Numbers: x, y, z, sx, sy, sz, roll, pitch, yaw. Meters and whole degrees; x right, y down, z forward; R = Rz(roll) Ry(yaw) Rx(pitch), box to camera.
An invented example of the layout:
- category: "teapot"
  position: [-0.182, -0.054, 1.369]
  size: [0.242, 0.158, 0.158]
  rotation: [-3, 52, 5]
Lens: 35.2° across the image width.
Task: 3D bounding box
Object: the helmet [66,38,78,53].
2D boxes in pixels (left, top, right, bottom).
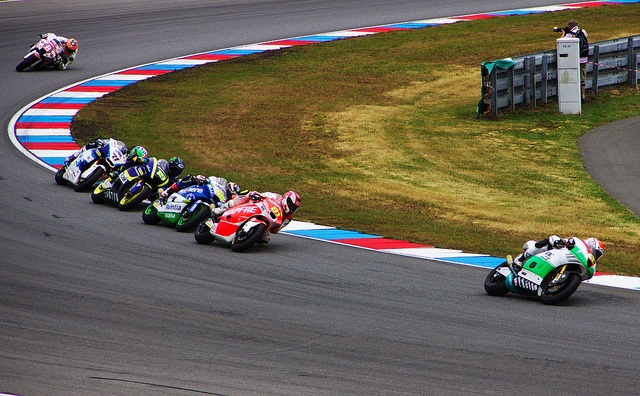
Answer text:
- category: "helmet"
  position: [-7.403, -4.524, 30.125]
  size: [0.403, 0.347, 0.430]
  rotation: [-55, 11, -10]

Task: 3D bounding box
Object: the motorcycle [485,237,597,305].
- category: "motorcycle"
  position: [4.389, 1.344, 19.538]
  size: [2.758, 0.807, 1.467]
  rotation: [-1, 26, 37]

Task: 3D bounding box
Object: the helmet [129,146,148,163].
- category: "helmet"
  position: [-4.107, -0.996, 22.668]
  size: [0.470, 0.345, 0.313]
  rotation: [-15, 25, -19]

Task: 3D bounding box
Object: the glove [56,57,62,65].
- category: "glove"
  position: [-7.758, -4.060, 30.121]
  size: [0.203, 0.149, 0.043]
  rotation: [-1, 10, -34]

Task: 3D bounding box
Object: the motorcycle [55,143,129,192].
- category: "motorcycle"
  position: [-5.211, -0.740, 22.964]
  size: [1.225, 0.646, 2.180]
  rotation: [-28, 12, -36]

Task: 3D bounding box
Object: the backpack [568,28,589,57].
- category: "backpack"
  position: [7.262, -4.360, 28.550]
  size: [0.494, 0.765, 0.487]
  rotation: [-14, 35, -1]

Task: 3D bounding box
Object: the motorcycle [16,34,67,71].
- category: "motorcycle"
  position: [-8.194, -4.317, 29.906]
  size: [1.162, 0.640, 1.882]
  rotation: [-15, 8, 10]

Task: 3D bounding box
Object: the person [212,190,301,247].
- category: "person"
  position: [-1.441, 0.440, 20.978]
  size: [1.283, 0.688, 2.216]
  rotation: [-10, 4, -35]

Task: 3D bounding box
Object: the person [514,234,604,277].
- category: "person"
  position: [4.627, 1.060, 19.670]
  size: [1.584, 0.609, 0.757]
  rotation: [-1, 31, 31]

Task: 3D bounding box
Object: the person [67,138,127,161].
- category: "person"
  position: [-5.088, -1.040, 23.297]
  size: [0.727, 0.454, 1.335]
  rotation: [-31, 20, -37]
